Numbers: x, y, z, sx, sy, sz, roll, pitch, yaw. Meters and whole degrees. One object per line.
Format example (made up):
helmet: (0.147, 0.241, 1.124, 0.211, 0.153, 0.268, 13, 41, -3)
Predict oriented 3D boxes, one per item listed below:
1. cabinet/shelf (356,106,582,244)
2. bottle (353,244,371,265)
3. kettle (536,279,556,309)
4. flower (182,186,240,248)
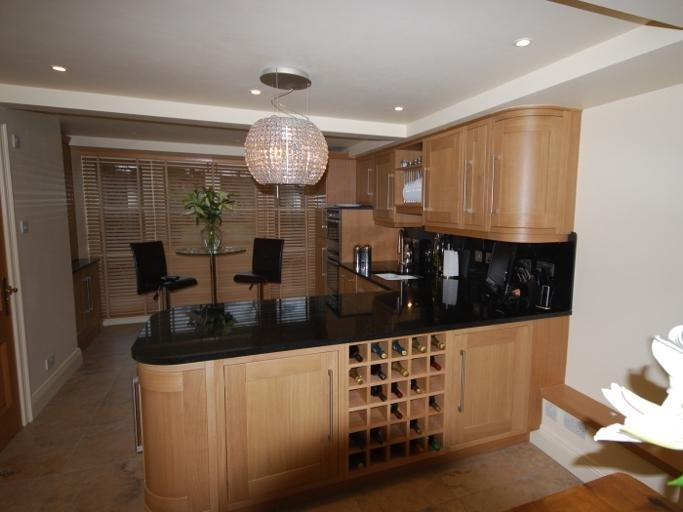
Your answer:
cabinet/shelf: (1.045, -0.676, 4.402, 0.485, 1.134, 2.010, -6, 15, -27)
bottle: (0.258, -0.038, 5.653, 0.168, 0.285, 0.289, 2, 5, 24)
kettle: (1.519, 0.299, 3.806, 0.156, 0.280, 0.171, 2, -5, 18)
flower: (-1.424, -0.387, 5.320, 0.464, 0.668, 0.401, 10, 17, 32)
